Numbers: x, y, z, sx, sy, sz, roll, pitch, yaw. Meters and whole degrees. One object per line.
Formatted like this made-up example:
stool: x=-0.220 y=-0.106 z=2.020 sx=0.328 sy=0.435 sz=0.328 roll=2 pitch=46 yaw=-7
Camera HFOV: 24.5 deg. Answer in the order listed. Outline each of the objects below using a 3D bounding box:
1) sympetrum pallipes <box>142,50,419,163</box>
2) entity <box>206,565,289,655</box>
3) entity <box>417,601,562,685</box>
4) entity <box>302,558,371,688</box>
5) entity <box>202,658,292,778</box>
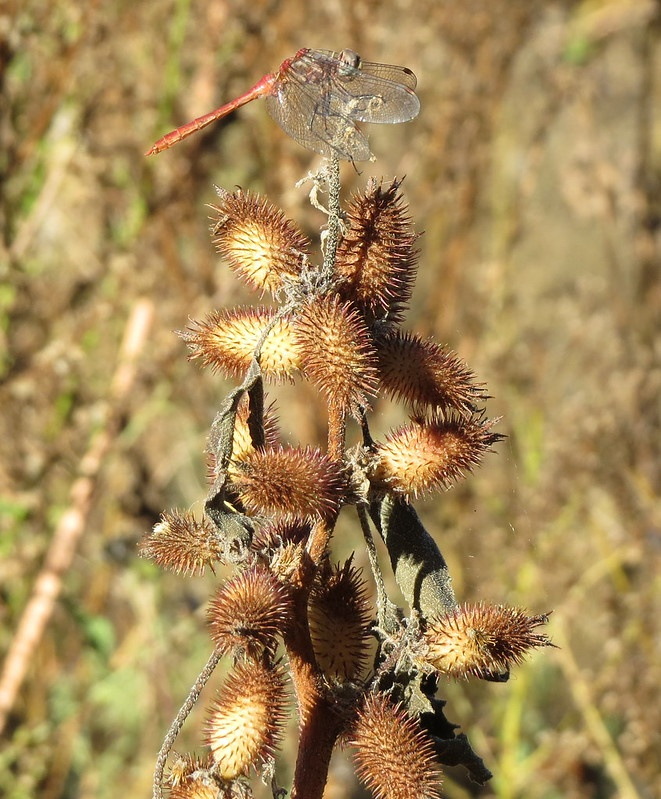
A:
sympetrum pallipes: x=-0.043 y=-0.499 z=2.315 sx=0.297 sy=0.127 sz=0.238 roll=-17 pitch=19 yaw=2
entity: x=-0.127 y=0.293 z=2.179 sx=0.098 sy=0.074 sz=0.046 roll=-19 pitch=55 yaw=41
entity: x=0.231 y=0.355 z=2.213 sx=0.160 sy=0.108 sz=0.111 roll=-2 pitch=47 yaw=5
entity: x=0.012 y=0.332 z=2.300 sx=0.091 sy=0.093 sz=0.213 roll=5 pitch=78 yaw=-29
entity: x=-0.118 y=0.449 z=2.219 sx=0.096 sy=0.105 sz=0.176 roll=37 pitch=90 yaw=3
